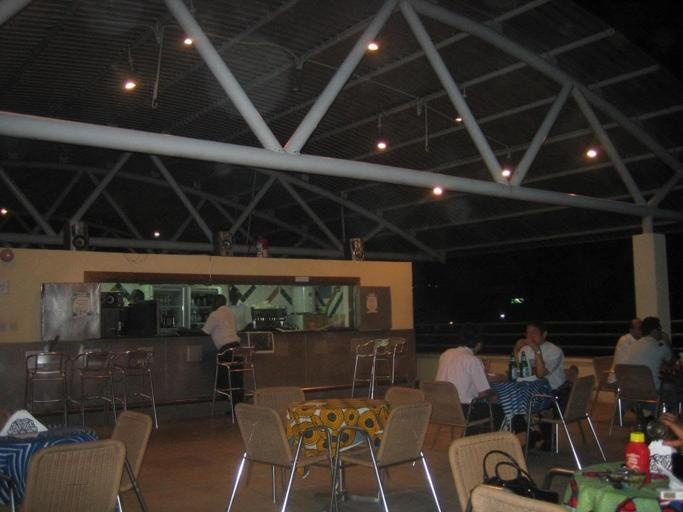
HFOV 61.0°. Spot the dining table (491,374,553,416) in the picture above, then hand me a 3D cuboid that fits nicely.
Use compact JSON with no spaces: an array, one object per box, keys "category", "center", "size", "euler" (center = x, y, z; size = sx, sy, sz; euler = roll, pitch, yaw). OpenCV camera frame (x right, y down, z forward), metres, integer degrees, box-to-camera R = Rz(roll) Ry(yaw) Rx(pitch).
[{"category":"dining table","center":[1.987,1.525,6.333],"size":[0.519,0.292,0.426],"euler":[2,-11,-13]}]

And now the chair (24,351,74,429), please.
[{"category":"chair","center":[-4.292,1.952,8.471],"size":[0.595,1.066,0.662],"euler":[-1,-1,-26]}]

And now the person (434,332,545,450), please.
[{"category":"person","center":[1.568,1.419,6.655],"size":[0.905,1.642,0.888],"euler":[-4,6,-34]}]

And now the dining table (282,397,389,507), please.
[{"category":"dining table","center":[-0.080,1.706,5.121],"size":[0.729,0.364,0.744],"euler":[-3,-9,19]}]

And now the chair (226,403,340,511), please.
[{"category":"chair","center":[-0.613,1.795,5.205],"size":[0.832,1.093,1.338],"euler":[-1,-1,-11]}]

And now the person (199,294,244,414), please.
[{"category":"person","center":[-1.923,1.555,9.536],"size":[0.627,1.797,0.932],"euler":[-1,-1,-13]}]
